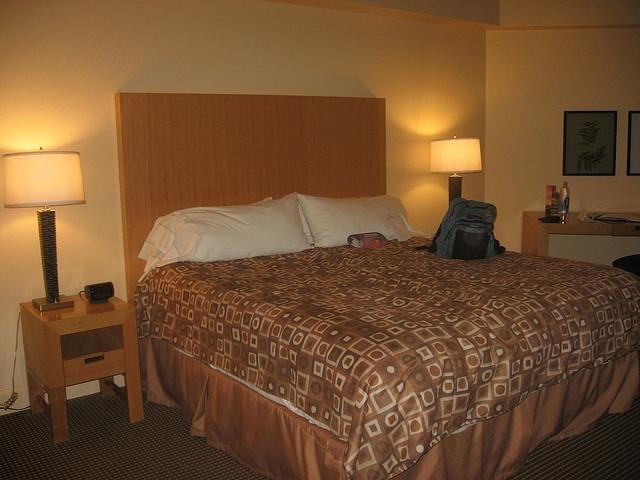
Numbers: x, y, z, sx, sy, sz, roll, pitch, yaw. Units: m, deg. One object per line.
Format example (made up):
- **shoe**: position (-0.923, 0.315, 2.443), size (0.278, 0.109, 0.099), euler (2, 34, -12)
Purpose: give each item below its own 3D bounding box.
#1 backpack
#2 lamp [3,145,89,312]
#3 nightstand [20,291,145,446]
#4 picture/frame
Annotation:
- **backpack**: position (1.031, -0.087, 3.633), size (0.395, 0.407, 0.429), euler (9, -1, 5)
- **lamp**: position (-1.787, -0.094, 3.218), size (0.384, 0.957, 0.385), euler (7, 14, 30)
- **nightstand**: position (-1.502, 0.687, 3.411), size (0.780, 1.113, 0.805), euler (-6, 9, -37)
- **picture/frame**: position (3.053, -1.067, 5.302), size (0.688, 0.521, 0.047), euler (0, 1, -1)
